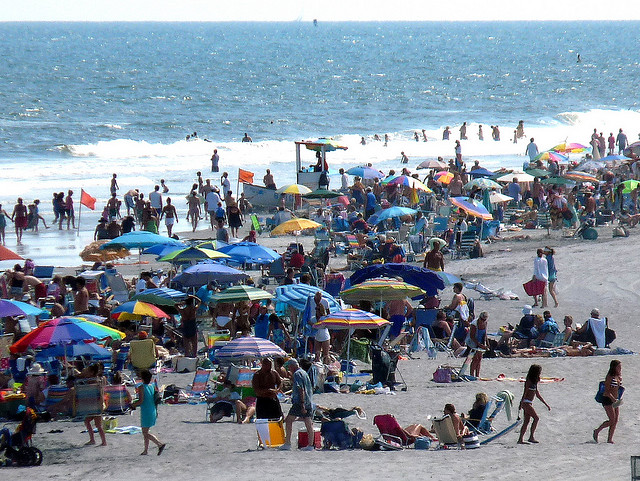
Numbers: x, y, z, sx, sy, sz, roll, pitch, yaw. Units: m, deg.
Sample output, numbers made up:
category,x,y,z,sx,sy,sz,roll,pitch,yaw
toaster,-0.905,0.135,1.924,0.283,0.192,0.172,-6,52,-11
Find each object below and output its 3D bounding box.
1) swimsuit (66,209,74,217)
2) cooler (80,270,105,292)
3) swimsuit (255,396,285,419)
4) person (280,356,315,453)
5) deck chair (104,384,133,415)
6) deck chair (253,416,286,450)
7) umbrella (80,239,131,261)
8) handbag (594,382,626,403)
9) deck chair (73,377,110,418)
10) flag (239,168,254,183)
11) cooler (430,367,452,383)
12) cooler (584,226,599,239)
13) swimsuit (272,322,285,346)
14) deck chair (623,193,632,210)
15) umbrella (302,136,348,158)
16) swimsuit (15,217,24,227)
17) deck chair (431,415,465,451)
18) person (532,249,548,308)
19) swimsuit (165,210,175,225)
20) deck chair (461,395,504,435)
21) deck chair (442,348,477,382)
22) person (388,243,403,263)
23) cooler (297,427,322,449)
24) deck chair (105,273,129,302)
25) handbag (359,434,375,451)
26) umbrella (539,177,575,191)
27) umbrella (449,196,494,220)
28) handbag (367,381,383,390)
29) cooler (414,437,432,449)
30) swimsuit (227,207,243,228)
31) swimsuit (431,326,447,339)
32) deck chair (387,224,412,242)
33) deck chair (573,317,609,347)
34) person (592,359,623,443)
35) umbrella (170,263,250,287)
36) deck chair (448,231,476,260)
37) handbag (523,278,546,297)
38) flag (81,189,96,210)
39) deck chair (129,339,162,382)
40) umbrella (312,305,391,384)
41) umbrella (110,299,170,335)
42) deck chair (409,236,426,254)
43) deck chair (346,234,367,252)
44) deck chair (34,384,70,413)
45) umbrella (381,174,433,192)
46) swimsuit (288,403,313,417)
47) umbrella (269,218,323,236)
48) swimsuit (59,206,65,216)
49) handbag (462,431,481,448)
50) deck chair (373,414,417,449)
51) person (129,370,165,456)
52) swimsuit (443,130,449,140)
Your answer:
category,x,y,z,sx,sy,sz,roll,pitch,yaw
swimsuit,-8.963,-1.028,48.698,0.234,0.267,0.312,-3,4,-2
cooler,-6.463,1.111,38.140,0.488,0.570,0.851,-1,3,8
swimsuit,-1.167,3.836,31.480,0.689,0.797,0.478,0,9,8
person,-0.514,3.799,31.391,0.917,1.937,0.782,-1,8,-10
deck chair,-4.869,3.737,32.671,0.784,0.838,0.648,-1,-1,-28
deck chair,-1.103,4.441,31.403,0.849,0.795,0.719,-1,-9,-5
umbrella,-6.333,0.332,39.394,0.850,0.308,0.842,-5,5,-40
handbag,6.729,3.447,31.523,0.613,0.608,0.476,-1,11,-4
deck chair,-5.351,3.768,31.898,0.818,1.013,0.864,-11,-23,13
flag,-2.603,-2.286,47.895,0.457,0.444,0.880,-3,4,-4
cooler,3.048,3.336,33.760,0.543,0.393,0.299,3,2,8
cooler,8.859,-0.284,44.337,0.386,0.416,0.233,-2,5,11
swimsuit,-1.061,2.396,34.976,0.380,0.496,0.195,-1,-6,2
deck chair,10.872,-1.428,47.823,0.304,0.543,1.078,-1,4,13
umbrella,0.223,-3.622,50.504,1.165,0.557,1.232,5,5,14
swimsuit,-10.364,-0.642,46.898,0.458,0.438,0.254,0,-3,-16
deck chair,2.975,4.407,31.293,0.564,0.689,0.860,-2,-23,24
person,6.178,1.016,37.972,0.433,1.645,0.809,-2,5,7
swimsuit,-5.135,-0.839,46.514,0.300,0.498,0.510,-3,4,-5
deck chair,3.798,4.054,31.598,0.988,0.885,0.269,-2,5,2
deck chair,3.473,3.021,33.847,0.878,1.138,0.690,3,3,7
person,2.220,0.339,39.686,0.430,0.486,0.865,-2,4,3
cooler,-0.233,4.519,31.352,0.464,0.356,0.463,1,4,-4
deck chair,-5.718,1.315,38.104,0.492,0.892,0.489,-20,5,-1
handbag,1.115,4.581,31.157,0.310,0.233,0.315,-43,7,43
umbrella,8.323,-2.030,47.634,0.637,0.405,0.665,3,4,36
umbrella,4.816,-1.040,42.555,0.916,0.382,0.924,21,13,-21
handbag,1.365,3.560,33.388,0.373,0.157,0.138,3,0,37
cooler,2.368,4.626,31.140,0.309,0.120,0.236,3,48,-7
swimsuit,-2.828,-0.810,45.451,0.403,0.715,0.387,-3,5,-4
swimsuit,3.147,2.415,35.539,0.320,0.272,0.282,0,1,6
deck chair,2.578,-0.254,43.489,0.489,0.515,0.992,0,5,27
deck chair,7.048,2.345,35.313,0.474,0.864,0.653,2,5,-30
person,6.773,3.663,31.557,0.593,1.777,0.720,2,9,18
umbrella,-3.016,0.937,36.978,1.883,0.676,1.279,-1,5,22
deck chair,4.581,0.126,42.784,0.783,1.070,0.876,0,12,-9
handbag,6.041,1.289,37.915,0.557,0.416,0.097,2,14,12
flag,-8.229,-1.445,48.175,0.457,0.672,1.080,-3,4,-10
deck chair,-4.437,2.999,33.955,0.878,1.200,0.969,-2,8,6
umbrella,0.761,2.587,33.873,1.786,1.799,1.172,-3,5,-5
umbrella,-4.714,1.955,34.971,1.290,0.855,1.224,1,5,36
deck chair,3.107,0.112,43.023,0.487,0.893,0.480,-4,5,5
deck chair,1.141,0.032,42.818,0.544,0.479,0.757,-3,4,-1
deck chair,-6.272,3.779,32.557,0.630,0.860,0.737,5,-2,15
umbrella,2.945,-1.961,45.892,1.426,0.562,1.330,-3,4,-4
swimsuit,-0.431,3.845,31.040,0.550,0.331,0.209,-3,5,-1
umbrella,-0.814,-0.463,40.957,0.919,0.373,1.857,0,5,30
swimsuit,-9.218,-1.092,48.551,0.179,0.346,0.243,-3,5,-10
handbag,3.540,4.584,31.216,0.271,0.294,0.380,-7,4,-40
deck chair,1.720,4.376,31.216,0.891,0.786,0.328,-2,5,2
person,-3.913,3.893,30.901,0.756,1.824,0.716,1,2,19
swimsuit,7.488,-6.263,79.577,0.354,0.555,0.398,-3,5,-11
